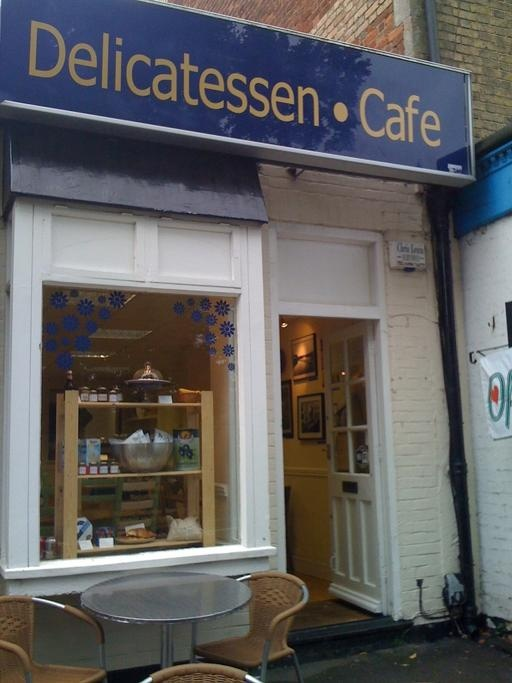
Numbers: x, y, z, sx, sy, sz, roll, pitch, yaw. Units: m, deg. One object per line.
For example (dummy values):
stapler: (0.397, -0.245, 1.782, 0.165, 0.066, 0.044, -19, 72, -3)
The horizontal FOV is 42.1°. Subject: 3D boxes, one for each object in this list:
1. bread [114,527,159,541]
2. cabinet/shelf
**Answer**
bread: (-0.627, 1.013, 3.506, 0.101, 0.038, 0.112, 2, -5, 8)
cabinet/shelf: (-0.674, 0.720, 3.536, 0.865, 0.842, 0.282, 3, -8, -27)
